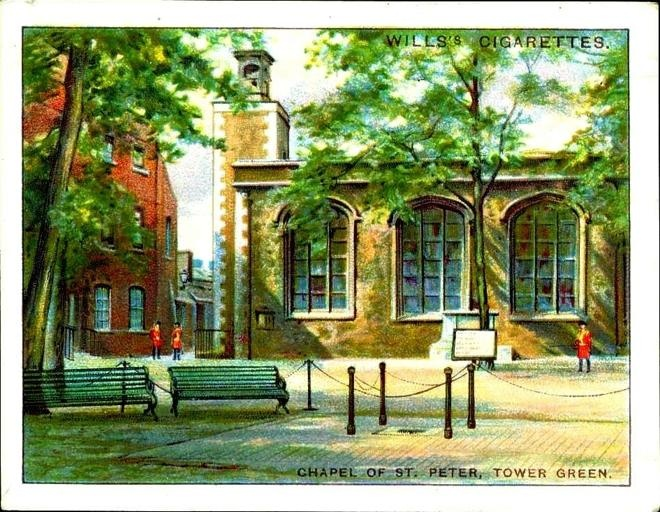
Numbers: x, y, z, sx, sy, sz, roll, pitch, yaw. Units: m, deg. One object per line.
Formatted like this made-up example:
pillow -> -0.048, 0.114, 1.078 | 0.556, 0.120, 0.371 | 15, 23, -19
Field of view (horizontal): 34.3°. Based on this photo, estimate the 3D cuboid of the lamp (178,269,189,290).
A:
lamp -> -2.521, 0.391, 18.418 | 0.166, 0.329, 0.072 | 0, -5, -10

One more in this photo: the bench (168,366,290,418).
bench -> -1.683, 2.212, 17.844 | 1.974, 0.824, 0.327 | -1, -5, -1
